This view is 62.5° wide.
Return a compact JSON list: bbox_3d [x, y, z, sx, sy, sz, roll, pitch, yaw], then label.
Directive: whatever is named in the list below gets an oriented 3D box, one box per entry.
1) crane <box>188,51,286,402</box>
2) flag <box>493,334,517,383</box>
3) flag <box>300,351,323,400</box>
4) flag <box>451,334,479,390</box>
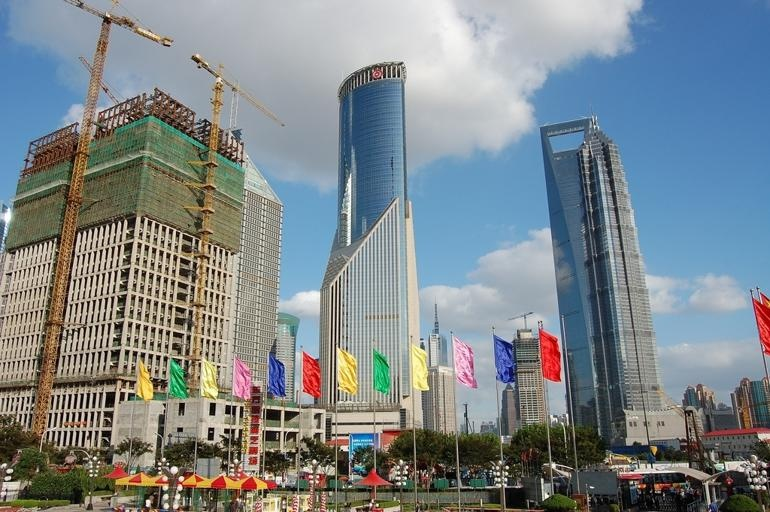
[{"bbox_3d":[-50.748,-14.268,206.098,9.004,88.507,47.793,-5,-14,28],"label":"crane"},{"bbox_3d":[19.865,17.226,105.428,3.141,7.546,7.389,-6,-22,9],"label":"flag"},{"bbox_3d":[-13.130,20.862,110.914,2.986,6.855,4.846,1,-22,-9],"label":"flag"},{"bbox_3d":[13.253,17.572,105.479,4.343,0.996,10.119,1,-62,12],"label":"flag"}]
